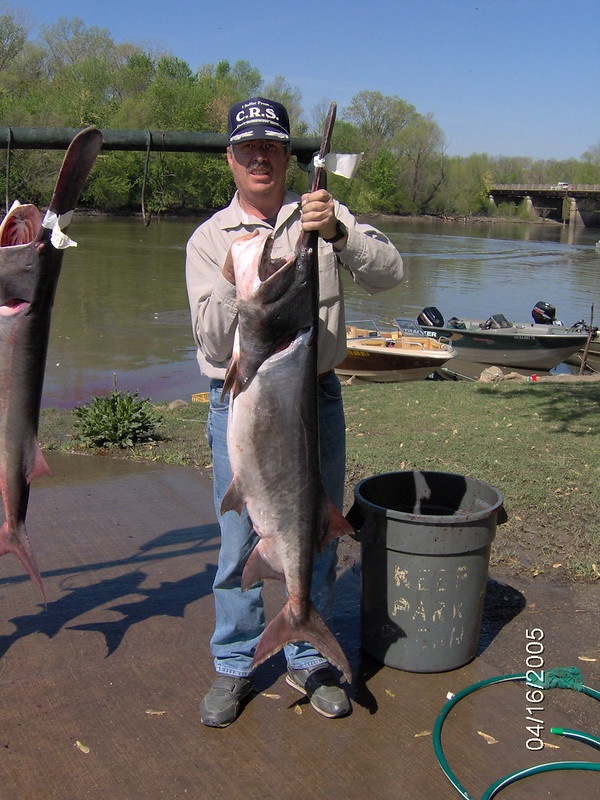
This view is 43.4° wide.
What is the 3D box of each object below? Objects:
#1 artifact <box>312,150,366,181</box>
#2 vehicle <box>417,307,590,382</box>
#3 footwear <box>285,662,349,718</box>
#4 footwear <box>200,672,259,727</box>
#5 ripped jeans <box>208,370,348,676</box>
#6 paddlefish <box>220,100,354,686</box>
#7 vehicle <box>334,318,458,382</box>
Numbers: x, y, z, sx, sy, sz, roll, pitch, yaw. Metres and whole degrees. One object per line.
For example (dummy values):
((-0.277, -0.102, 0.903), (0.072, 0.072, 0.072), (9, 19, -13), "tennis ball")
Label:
((0.131, -0.778, 2.506), (0.170, 0.093, 0.045), (7, -5, 2), "artifact")
((4.852, -1.491, 20.415), (5.129, 1.365, 1.806), (10, 16, 30), "vehicle")
((0.085, 1.294, 3.370), (0.133, 0.110, 0.326), (0, 0, -33), "footwear")
((-0.316, 1.304, 3.265), (0.116, 0.093, 0.272), (5, 6, 15), "footwear")
((-0.081, 0.481, 3.388), (0.566, 1.426, 0.475), (-1, -3, 9), "ripped jeans")
((-0.034, 0.255, 2.716), (0.458, 1.668, 0.471), (-2, 13, -13), "paddlefish")
((2.234, -1.065, 17.944), (3.269, 1.126, 1.747), (6, 16, 24), "vehicle")
